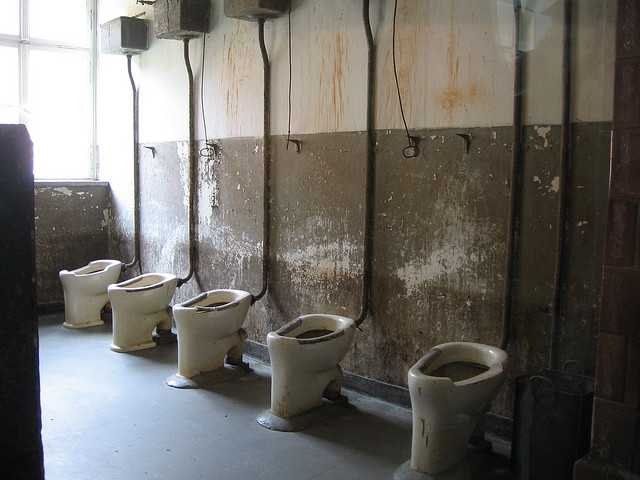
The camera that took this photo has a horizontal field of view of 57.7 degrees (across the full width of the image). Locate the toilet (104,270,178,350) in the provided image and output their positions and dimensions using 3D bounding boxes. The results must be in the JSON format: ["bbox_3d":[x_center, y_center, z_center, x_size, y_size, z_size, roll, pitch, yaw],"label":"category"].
[{"bbox_3d":[-1.493,0.537,5.050,0.688,0.647,0.565,-1,5,-42],"label":"toilet"}]

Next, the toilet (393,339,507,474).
[{"bbox_3d":[0.650,0.869,3.384,0.421,0.830,0.771,14,16,43],"label":"toilet"}]

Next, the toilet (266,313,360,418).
[{"bbox_3d":[-0.045,0.827,3.835,0.414,0.549,0.616,8,11,43],"label":"toilet"}]

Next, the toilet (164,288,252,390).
[{"bbox_3d":[-0.833,0.716,4.353,0.463,0.648,0.688,5,5,43],"label":"toilet"}]

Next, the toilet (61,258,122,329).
[{"bbox_3d":[-2.161,0.480,5.598,0.541,0.692,0.394,-2,13,-32],"label":"toilet"}]
